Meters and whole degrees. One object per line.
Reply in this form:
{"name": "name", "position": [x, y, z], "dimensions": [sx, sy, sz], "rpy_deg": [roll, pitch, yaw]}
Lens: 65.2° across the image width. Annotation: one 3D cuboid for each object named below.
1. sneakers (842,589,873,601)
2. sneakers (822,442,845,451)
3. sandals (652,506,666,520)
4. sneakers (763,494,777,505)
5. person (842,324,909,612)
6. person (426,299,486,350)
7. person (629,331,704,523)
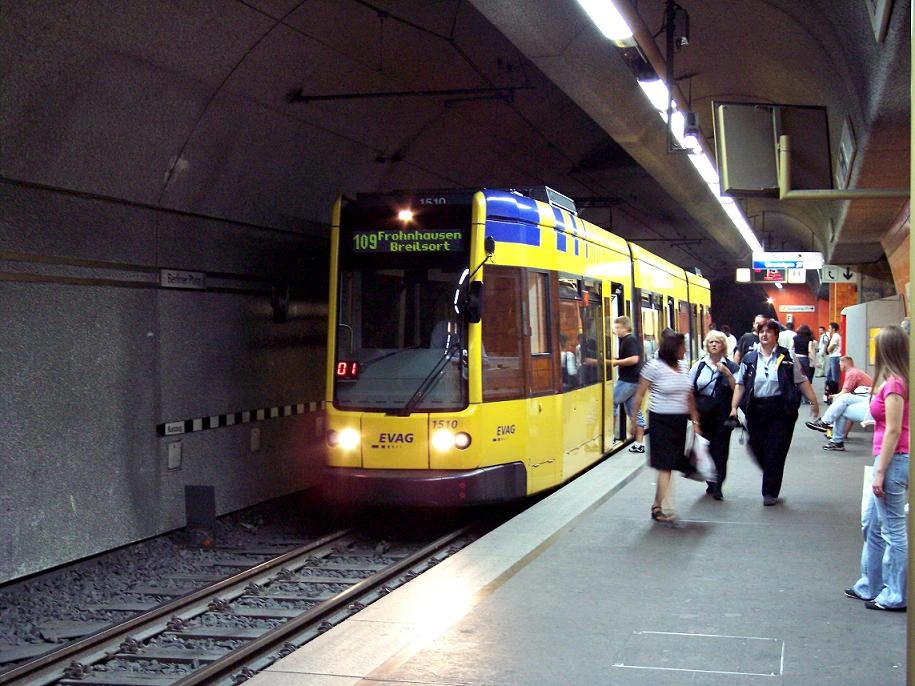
{"name": "sneakers", "position": [3.036, 1.908, 5.432], "dimensions": [0.045, 0.056, 0.122], "rpy_deg": [-6, -1, -34]}
{"name": "sneakers", "position": [7.094, 1.951, 13.466], "dimensions": [0.350, 0.169, 0.150], "rpy_deg": [5, 0, 15]}
{"name": "sandals", "position": [2.281, 1.918, 8.089], "dimensions": [0.147, 0.178, 0.119], "rpy_deg": [-1, -1, 16]}
{"name": "sneakers", "position": [3.871, 1.943, 8.858], "dimensions": [0.079, 0.078, 0.208], "rpy_deg": [-18, -13, 33]}
{"name": "person", "position": [3.112, 0.903, 5.150], "dimensions": [0.352, 2.057, 0.685], "rpy_deg": [-1, -1, 7]}
{"name": "person", "position": [0.001, -0.166, 9.282], "dimensions": [0.682, 0.719, 0.426], "rpy_deg": [3, -1, 8]}
{"name": "person", "position": [2.393, 0.937, 8.240], "dimensions": [0.628, 2.147, 0.525], "rpy_deg": [0, -1, -43]}
